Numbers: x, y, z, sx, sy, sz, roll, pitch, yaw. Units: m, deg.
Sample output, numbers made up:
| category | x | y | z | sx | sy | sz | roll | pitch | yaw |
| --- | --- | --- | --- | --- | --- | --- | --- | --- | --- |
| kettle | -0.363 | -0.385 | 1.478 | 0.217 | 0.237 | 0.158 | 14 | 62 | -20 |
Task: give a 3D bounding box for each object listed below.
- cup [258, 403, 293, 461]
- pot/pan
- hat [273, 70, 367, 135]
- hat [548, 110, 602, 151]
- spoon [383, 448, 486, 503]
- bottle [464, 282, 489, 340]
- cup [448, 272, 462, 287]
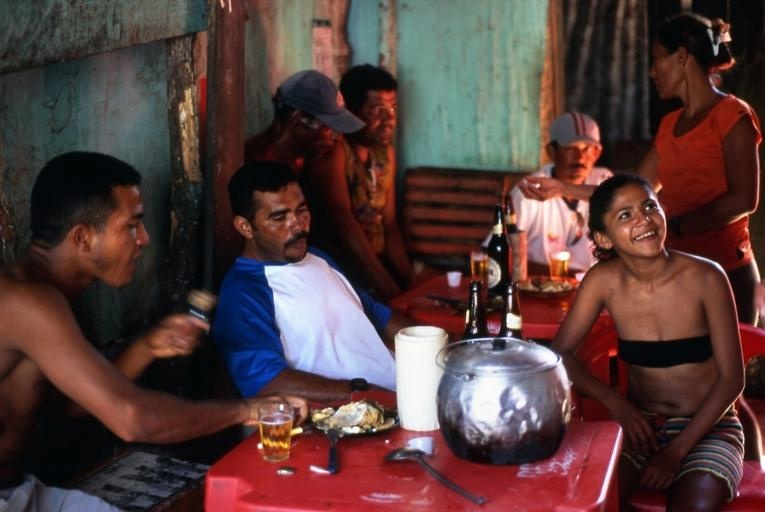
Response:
| category | x | y | z | sx | sy | sz | roll | pitch | yaw |
| --- | --- | --- | --- | --- | --- | --- | --- | --- | --- |
| cup | -0.388 | 0.624 | 2.748 | 0.140 | 0.199 | 0.123 | -1 | -1 | -20 |
| pot/pan | 0.407 | 0.459 | 2.711 | 0.419 | 0.356 | 0.426 | 0 | 4 | 6 |
| hat | -0.377 | -1.021 | 5.075 | 0.620 | 0.317 | 0.386 | 17 | 17 | -1 |
| hat | 1.365 | -0.900 | 5.603 | 0.390 | 0.278 | 0.516 | 1 | 5 | 0 |
| spoon | 0.160 | 0.718 | 2.592 | 0.127 | 0.063 | 0.419 | -2 | 10 | -32 |
| bottle | 0.381 | 0.234 | 3.288 | 0.100 | 0.279 | 0.368 | -2 | 8 | 6 |
| cup | 0.426 | 0.137 | 4.630 | 0.083 | 0.063 | 0.083 | -1 | 7 | 0 |
